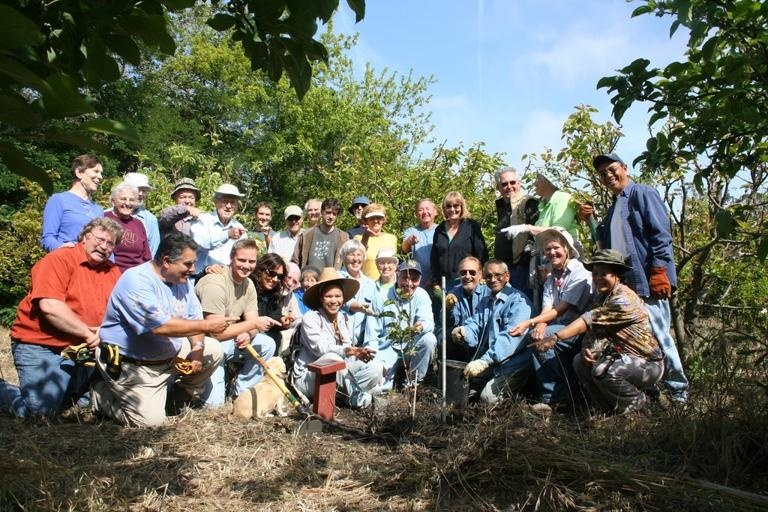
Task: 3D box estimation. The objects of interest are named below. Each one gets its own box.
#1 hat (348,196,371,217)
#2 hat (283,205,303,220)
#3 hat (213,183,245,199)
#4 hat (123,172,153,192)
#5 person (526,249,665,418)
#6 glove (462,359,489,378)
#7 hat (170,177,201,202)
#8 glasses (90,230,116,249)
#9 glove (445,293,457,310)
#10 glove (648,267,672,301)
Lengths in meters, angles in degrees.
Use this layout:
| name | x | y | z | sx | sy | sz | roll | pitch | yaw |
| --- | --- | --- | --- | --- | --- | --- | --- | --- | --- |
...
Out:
| name | x | y | z | sx | sy | sz | roll | pitch | yaw |
| --- | --- | --- | --- | --- | --- | --- | --- | --- | --- |
| hat | -0.356 | -0.743 | 9.360 | 0.312 | 0.149 | 0.310 | -1 | -18 | -5 |
| hat | -1.248 | -0.647 | 8.908 | 0.223 | 0.153 | 0.304 | -4 | -11 | -3 |
| hat | -1.959 | -0.827 | 8.185 | 0.379 | 0.149 | 0.426 | 9 | -3 | -9 |
| hat | -2.918 | -0.941 | 7.621 | 0.307 | 0.134 | 0.408 | 14 | 3 | -32 |
| person | 2.255 | 0.752 | 6.438 | 1.030 | 1.605 | 0.551 | 3 | 9 | 25 |
| glove | 0.989 | 1.205 | 6.885 | 0.247 | 0.181 | 0.075 | -13 | -46 | -8 |
| hat | -2.489 | -0.911 | 8.138 | 0.355 | 0.219 | 0.408 | -3 | -7 | 3 |
| glasses | -2.825 | -0.154 | 6.453 | 0.170 | 0.121 | 0.217 | 42 | -25 | -27 |
| glove | 0.782 | 0.534 | 7.558 | 0.128 | 0.153 | 0.161 | 10 | -41 | -2 |
| glove | 2.828 | 0.282 | 6.589 | 0.226 | 0.303 | 0.096 | -26 | -28 | 31 |
